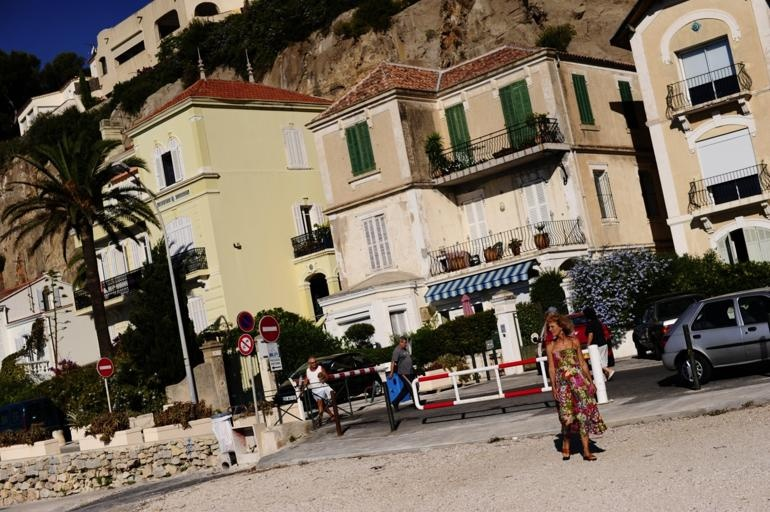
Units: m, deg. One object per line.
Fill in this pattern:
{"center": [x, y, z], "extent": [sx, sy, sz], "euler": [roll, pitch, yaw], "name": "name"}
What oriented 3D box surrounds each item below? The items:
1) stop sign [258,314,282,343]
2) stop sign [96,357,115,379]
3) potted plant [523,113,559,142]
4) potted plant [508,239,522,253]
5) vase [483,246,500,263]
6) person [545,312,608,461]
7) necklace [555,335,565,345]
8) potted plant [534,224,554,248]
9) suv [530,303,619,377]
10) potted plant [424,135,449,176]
{"center": [-4.482, 2.684, 36.701], "extent": [0.596, 1.123, 1.213], "euler": [-11, -9, 12], "name": "stop sign"}
{"center": [-13.386, 5.195, 45.870], "extent": [0.597, 0.880, 1.115], "euler": [-8, -10, -10], "name": "stop sign"}
{"center": [8.051, -6.524, 49.008], "extent": [1.651, 1.610, 0.729], "euler": [-13, -9, 13], "name": "potted plant"}
{"center": [6.589, -0.492, 48.630], "extent": [0.660, 0.824, 0.610], "euler": [0, -8, 0], "name": "potted plant"}
{"center": [5.442, -0.110, 49.486], "extent": [0.790, 0.910, 0.669], "euler": [-17, -16, 23], "name": "vase"}
{"center": [5.333, 3.666, 27.186], "extent": [1.160, 4.228, 0.740], "euler": [-10, -9, 9], "name": "person"}
{"center": [4.961, 2.355, 27.231], "extent": [0.241, 0.312, 0.172], "euler": [-2, -3, 10], "name": "necklace"}
{"center": [7.816, -0.987, 47.832], "extent": [0.934, 1.737, 1.018], "euler": [-1, -7, 1], "name": "potted plant"}
{"center": [7.204, 2.686, 35.953], "extent": [2.712, 2.431, 4.414], "euler": [-4, -13, 17], "name": "suv"}
{"center": [2.754, -5.522, 51.923], "extent": [1.118, 2.322, 0.466], "euler": [-10, -9, 5], "name": "potted plant"}
